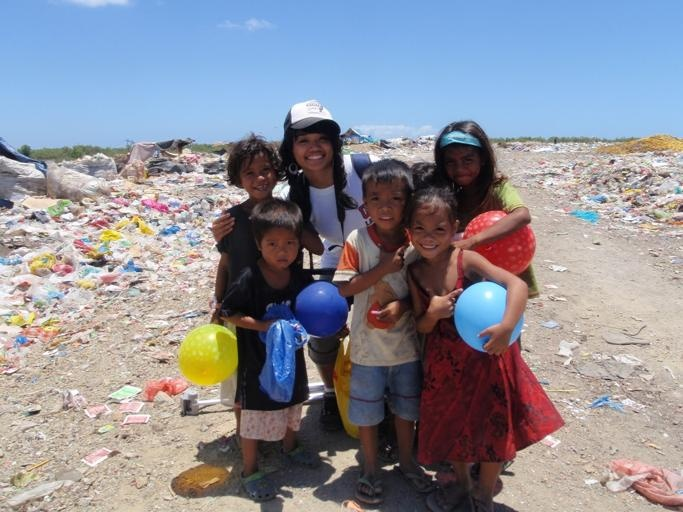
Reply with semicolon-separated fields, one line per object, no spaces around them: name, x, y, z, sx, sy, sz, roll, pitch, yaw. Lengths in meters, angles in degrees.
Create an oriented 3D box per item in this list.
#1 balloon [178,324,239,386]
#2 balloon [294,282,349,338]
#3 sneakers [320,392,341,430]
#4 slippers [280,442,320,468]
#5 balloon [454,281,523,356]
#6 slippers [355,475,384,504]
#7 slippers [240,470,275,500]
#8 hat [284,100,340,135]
balloon;-0.844;0.662;3.098;0.399;0.365;0.350;-6;-6;-6
balloon;-0.103;0.309;3.136;0.395;0.366;0.350;8;14;9
sneakers;-0.087;1.231;3.697;0.130;0.209;0.343;-2;-19;-3
slippers;-0.297;1.430;3.376;0.113;0.078;0.305;-12;23;-41
balloon;0.721;0.348;2.732;0.442;0.405;0.394;7;-6;7
slippers;0.176;1.467;2.965;0.174;0.145;0.111;0;12;5
slippers;-0.541;1.480;3.045;0.152;0.116;0.223;-8;13;-34
hat;-0.245;-1.059;3.486;0.404;0.218;0.480;-14;22;-26
